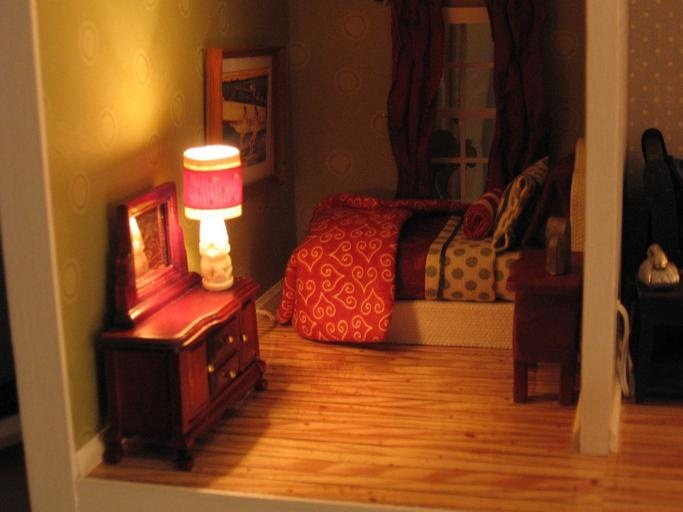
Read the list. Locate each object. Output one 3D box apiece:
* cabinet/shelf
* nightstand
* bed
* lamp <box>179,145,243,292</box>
[{"bbox_3d":[-0.871,0.655,4.032,0.499,0.784,1.190,2,13,14],"label":"cabinet/shelf"},{"bbox_3d":[1.261,0.450,4.108,0.412,0.841,0.462,2,13,18],"label":"nightstand"},{"bbox_3d":[0.751,-0.235,4.756,1.581,0.996,1.620,3,9,-9],"label":"bed"},{"bbox_3d":[-0.776,-0.238,4.113,0.352,0.858,0.436,-5,12,-14],"label":"lamp"}]
